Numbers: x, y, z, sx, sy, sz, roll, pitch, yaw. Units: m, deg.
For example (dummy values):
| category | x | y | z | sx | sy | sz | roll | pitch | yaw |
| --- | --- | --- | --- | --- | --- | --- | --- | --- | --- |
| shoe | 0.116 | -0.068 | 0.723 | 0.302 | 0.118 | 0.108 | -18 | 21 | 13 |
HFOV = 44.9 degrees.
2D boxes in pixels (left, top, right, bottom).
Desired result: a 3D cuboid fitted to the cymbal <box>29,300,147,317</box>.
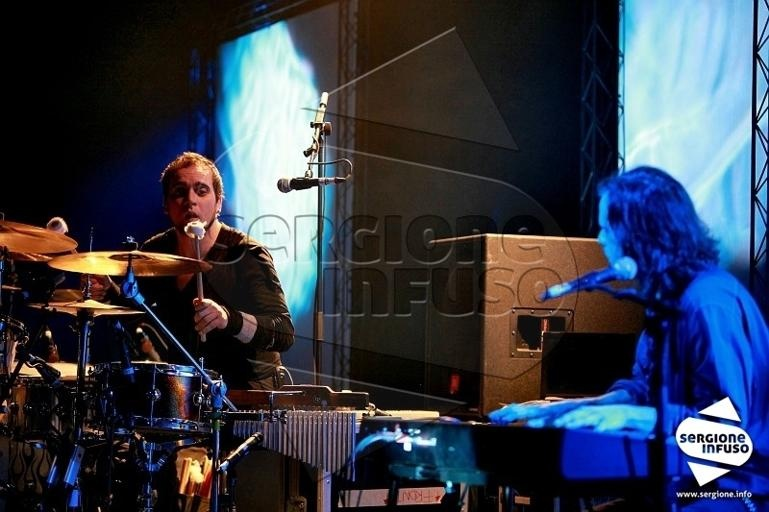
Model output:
| category | x | y | z | sx | sy | sz | roll | pitch | yaw |
| --- | --- | --- | --- | --- | --- | --- | --- | --- | --- |
| cymbal | -2.362 | 0.351 | 7.337 | 0.569 | 0.247 | 0.583 | 1 | 1 | -35 |

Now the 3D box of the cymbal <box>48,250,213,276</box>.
| category | x | y | z | sx | sy | sz | roll | pitch | yaw |
| --- | --- | --- | --- | --- | --- | --- | --- | --- | --- |
| cymbal | -1.818 | 0.103 | 6.553 | 0.896 | 0.213 | 0.882 | 2 | -4 | -31 |

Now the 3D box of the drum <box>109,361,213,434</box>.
| category | x | y | z | sx | sy | sz | roll | pitch | yaw |
| --- | --- | --- | --- | --- | --- | --- | --- | --- | --- |
| drum | -1.595 | 0.879 | 6.513 | 0.459 | 0.601 | 0.663 | 1 | 1 | -17 |

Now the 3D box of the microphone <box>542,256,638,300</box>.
| category | x | y | z | sx | sy | sz | roll | pitch | yaw |
| --- | --- | --- | --- | --- | --- | --- | --- | --- | --- |
| microphone | 1.458 | 0.162 | 6.650 | 0.444 | 0.131 | 0.144 | -15 | -27 | -9 |
